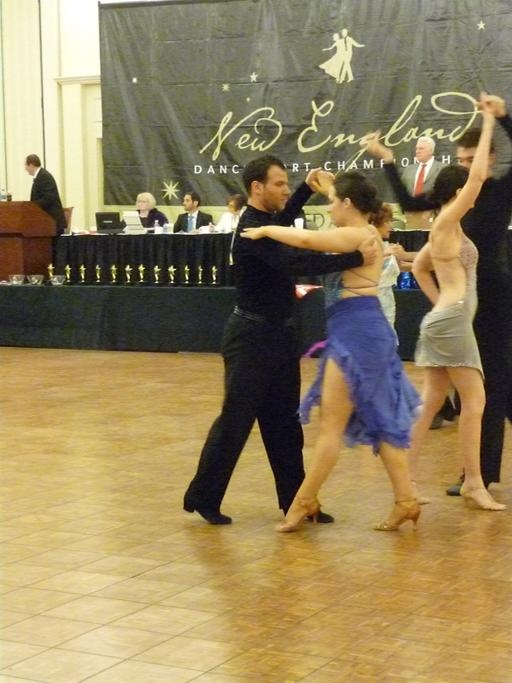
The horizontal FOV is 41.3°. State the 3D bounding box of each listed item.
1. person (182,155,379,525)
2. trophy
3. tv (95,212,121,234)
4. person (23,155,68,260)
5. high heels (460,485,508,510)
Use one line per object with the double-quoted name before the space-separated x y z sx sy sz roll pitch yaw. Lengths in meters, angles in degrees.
"person" 0.004 -0.017 2.792 0.875 1.362 0.789 -8 21 -32
"trophy" -1.441 -0.804 8.312 2.181 0.331 0.476 2 15 15
"tv" -1.915 -1.538 8.802 0.310 0.283 0.325 -2 8 -7
"person" -3.179 -1.849 10.055 0.738 1.689 0.646 -5 12 -23
"high heels" 0.967 0.683 2.994 0.257 0.107 0.077 0 0 32
